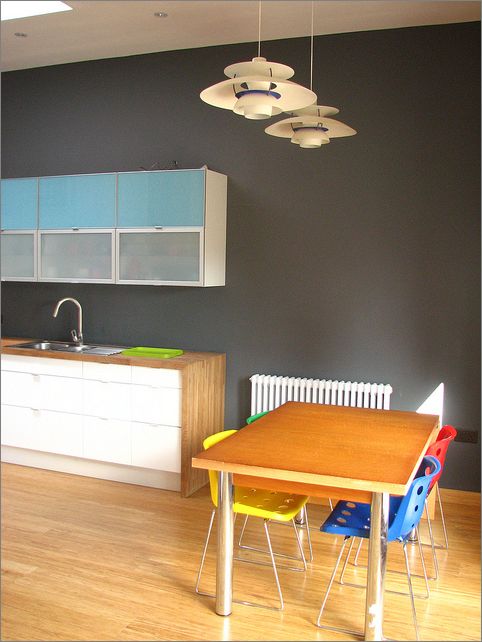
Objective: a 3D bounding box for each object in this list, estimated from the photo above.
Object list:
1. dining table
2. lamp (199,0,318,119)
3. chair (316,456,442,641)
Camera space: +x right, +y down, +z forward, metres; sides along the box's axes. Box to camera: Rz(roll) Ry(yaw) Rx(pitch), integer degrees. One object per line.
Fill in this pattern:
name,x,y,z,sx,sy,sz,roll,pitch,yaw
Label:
dining table,0.322,0.568,2.248,0.737,0.575,1.159,1,5,18
lamp,0.079,-0.791,1.802,0.281,0.389,0.282,4,7,26
chair,0.560,0.879,2.557,0.640,0.942,0.567,2,2,17
